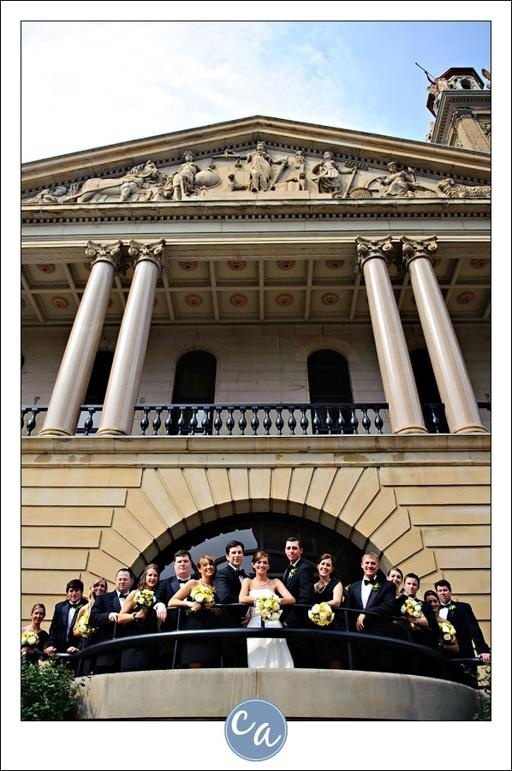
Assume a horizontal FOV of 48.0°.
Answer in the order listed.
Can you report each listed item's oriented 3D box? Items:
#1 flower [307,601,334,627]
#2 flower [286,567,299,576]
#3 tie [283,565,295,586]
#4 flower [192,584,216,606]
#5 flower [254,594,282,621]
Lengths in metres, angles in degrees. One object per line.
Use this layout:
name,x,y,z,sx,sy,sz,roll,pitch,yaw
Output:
flower,0.680,2.416,6.093,0.225,0.192,0.217,21,-48,-17
flower,0.417,2.199,6.776,0.091,0.083,0.109,42,-21,-12
tie,0.401,2.235,6.765,0.056,0.207,0.146,31,-37,-25
flower,-0.576,2.241,6.164,0.189,0.147,0.202,2,-17,-10
flower,0.130,2.318,6.015,0.244,0.262,0.253,1,-20,-2
